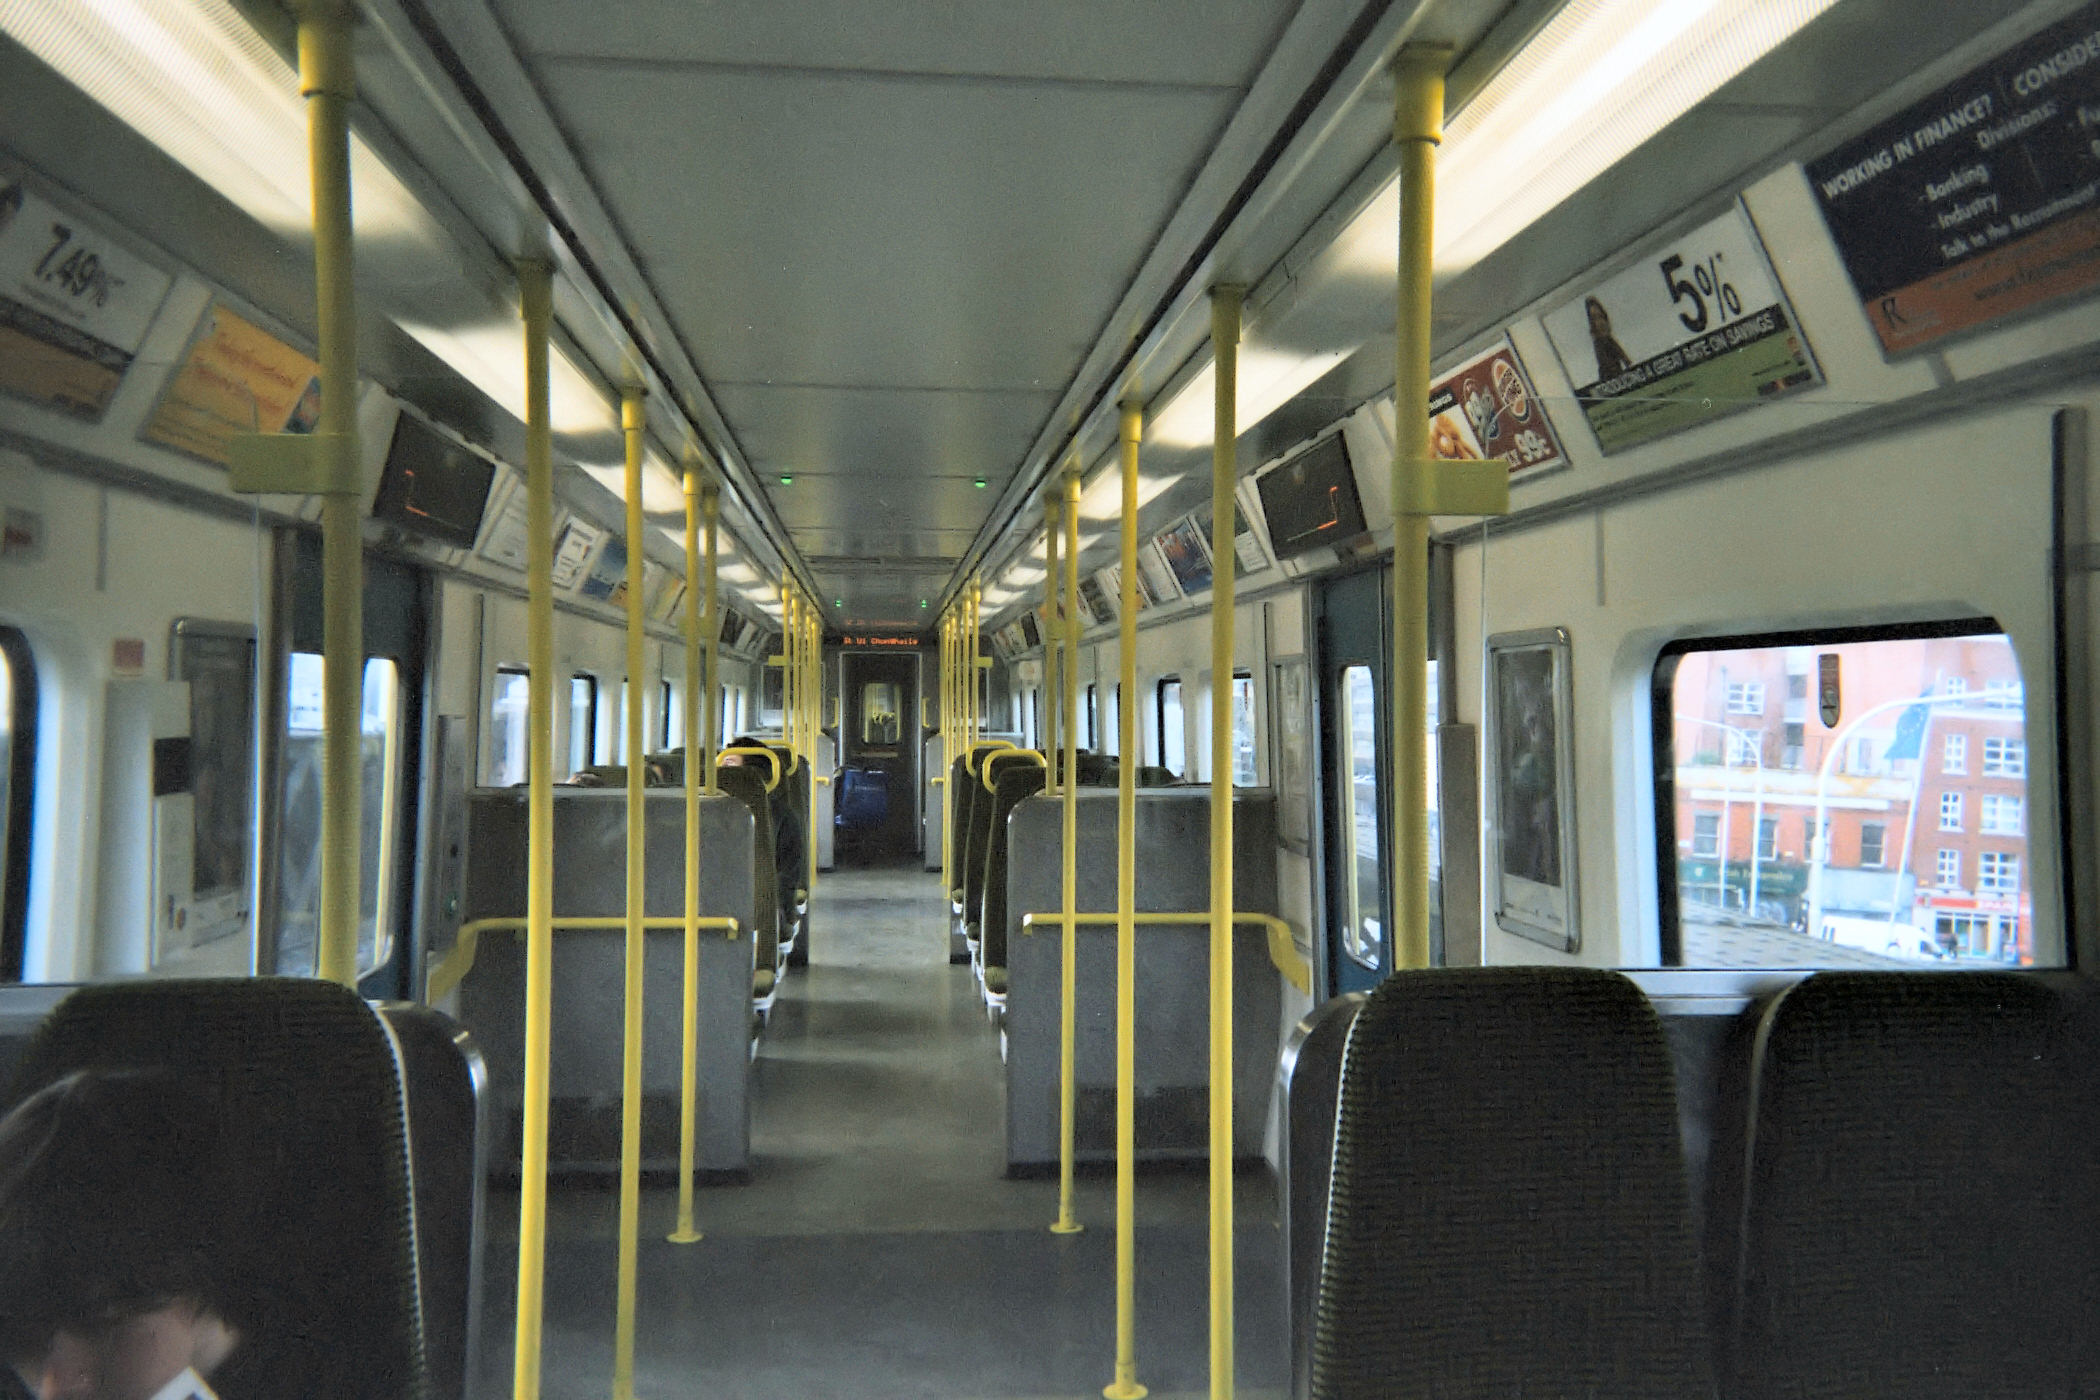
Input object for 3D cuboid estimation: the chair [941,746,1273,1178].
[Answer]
[{"bbox_3d":[0.188,1.171,6.448,1.334,1.951,1.433,0,-1,-1],"label":"chair"}]
